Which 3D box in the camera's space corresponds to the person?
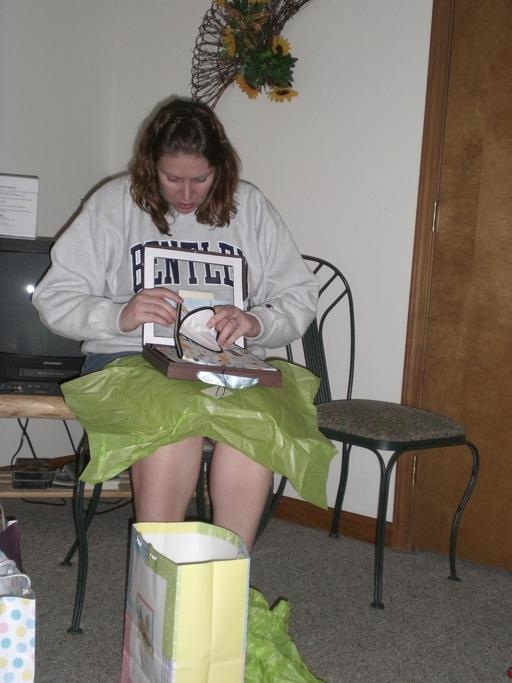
[{"bbox_3d":[-0.116,-0.070,1.192,0.628,0.884,0.486,3,2,-20],"label":"person"}]
